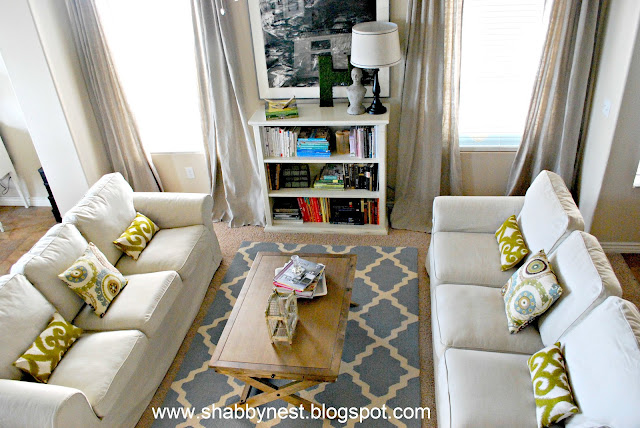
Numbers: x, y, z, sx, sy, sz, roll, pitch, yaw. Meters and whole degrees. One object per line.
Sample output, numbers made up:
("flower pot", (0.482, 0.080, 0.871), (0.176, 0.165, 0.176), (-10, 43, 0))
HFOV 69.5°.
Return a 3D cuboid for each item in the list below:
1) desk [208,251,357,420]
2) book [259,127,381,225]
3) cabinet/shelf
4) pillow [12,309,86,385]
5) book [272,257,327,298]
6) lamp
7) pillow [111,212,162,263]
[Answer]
("desk", (-0.260, 0.753, 3.769), (0.961, 0.451, 1.158), (4, 31, 11))
("book", (0.028, -0.443, 5.001), (1.014, 0.898, 0.333), (0, 21, 5))
("cabinet/shelf", (0.027, -0.512, 4.973), (1.359, 1.269, 0.516), (1, 32, 4))
("pillow", (-2.047, 0.957, 3.415), (0.354, 0.177, 0.600), (38, 50, -14))
("book", (-0.148, 0.551, 3.861), (0.370, 0.088, 0.371), (15, 41, 16))
("lamp", (0.539, -1.430, 4.570), (0.499, 0.833, 0.412), (3, 31, 9))
("pillow", (-1.736, 0.217, 4.353), (0.330, 0.160, 0.541), (38, 34, -12))
